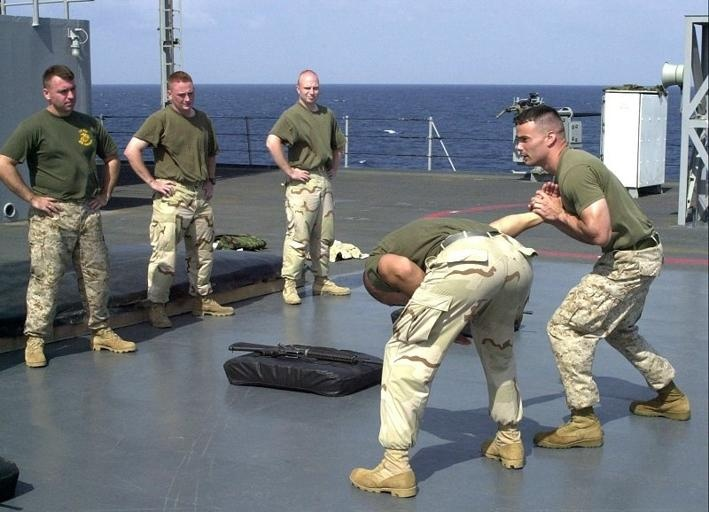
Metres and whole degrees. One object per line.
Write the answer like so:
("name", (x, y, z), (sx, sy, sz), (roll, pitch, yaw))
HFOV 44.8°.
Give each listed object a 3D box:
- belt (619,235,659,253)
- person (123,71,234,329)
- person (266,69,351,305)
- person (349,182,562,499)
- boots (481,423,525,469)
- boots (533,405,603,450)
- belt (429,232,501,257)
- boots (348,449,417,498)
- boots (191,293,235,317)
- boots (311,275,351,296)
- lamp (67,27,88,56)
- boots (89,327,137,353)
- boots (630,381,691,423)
("belt", (1.797, -0.105, 5.416), (0.180, 0.052, 0.129), (-17, 3, 3))
("person", (-1.577, -0.511, 7.842), (0.853, 2.289, 0.871), (-3, 14, -8))
("person", (-0.434, -0.692, 8.711), (0.860, 2.277, 0.455), (-11, 17, -34))
("person", (0.495, 0.562, 4.992), (1.095, 1.504, 0.506), (-5, 15, -16))
("boots", (0.912, 1.123, 5.309), (0.147, 0.278, 0.430), (-3, 1, -18))
("boots", (1.370, 1.086, 5.513), (0.482, 0.301, 0.197), (1, 1, 5))
("belt", (0.638, -0.068, 4.829), (0.358, 0.142, 0.124), (0, 14, 2))
("boots", (0.145, 1.218, 4.961), (0.431, 0.278, 0.167), (2, 8, 30))
("boots", (-1.346, 0.476, 8.292), (0.407, 0.246, 0.176), (-2, 4, -6))
("boots", (-0.238, 0.311, 9.069), (0.407, 0.231, 0.167), (-2, 9, -1))
("lamp", (-4.396, -3.427, 13.838), (0.124, 0.475, 0.402), (4, 15, 20))
("boots", (-2.015, 0.707, 7.150), (0.439, 0.198, 0.160), (1, 6, 1))
("boots", (2.079, 0.992, 5.929), (0.468, 0.293, 0.175), (5, 7, 28))
